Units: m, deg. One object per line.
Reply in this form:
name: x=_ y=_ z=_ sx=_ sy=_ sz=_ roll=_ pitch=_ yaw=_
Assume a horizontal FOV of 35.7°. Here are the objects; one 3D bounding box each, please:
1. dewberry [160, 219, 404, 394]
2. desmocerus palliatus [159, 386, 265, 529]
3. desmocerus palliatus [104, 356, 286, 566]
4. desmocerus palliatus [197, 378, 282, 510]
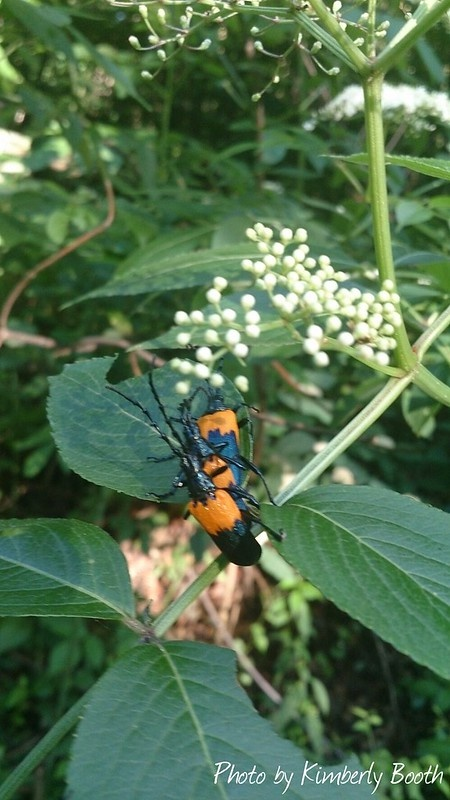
dewberry: x=0.095 y=-0.138 z=1.324 sx=0.424 sy=0.098 sz=0.406 roll=0 pitch=48 yaw=5
desmocerus palliatus: x=-0.027 y=0.093 z=1.302 sx=0.161 sy=0.227 sz=0.072 roll=-11 pitch=-5 yaw=33
desmocerus palliatus: x=-0.031 y=0.209 z=1.364 sx=0.288 sy=0.096 sz=0.417 roll=-8 pitch=19 yaw=-17
desmocerus palliatus: x=0.020 y=0.084 z=1.364 sx=0.105 sy=0.232 sz=0.137 roll=8 pitch=15 yaw=26
